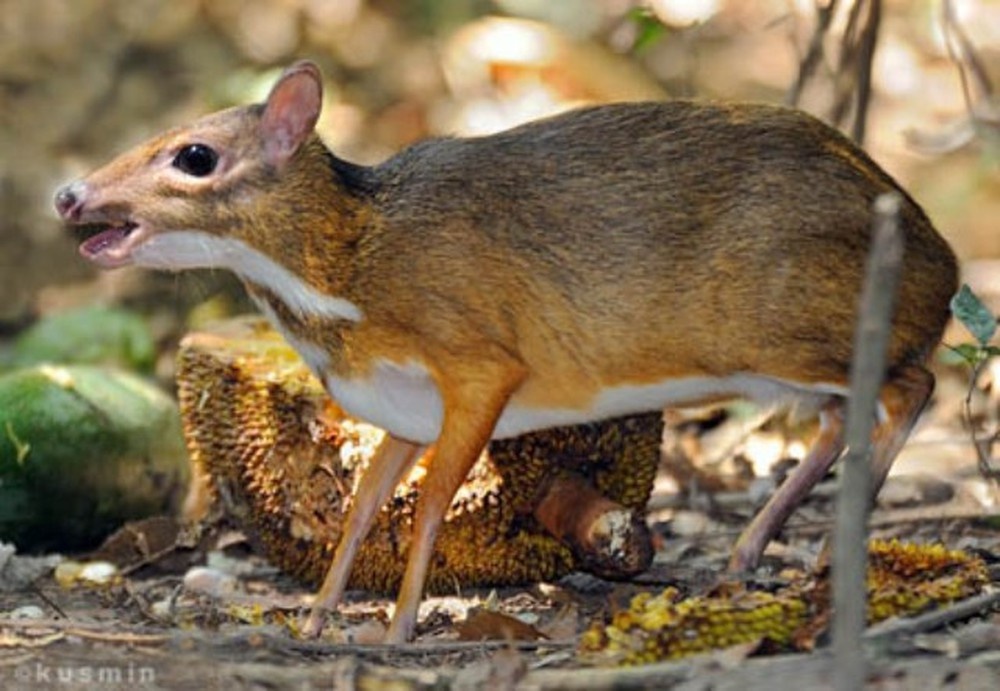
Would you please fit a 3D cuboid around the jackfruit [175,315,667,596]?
[{"bbox_3d":[-0.083,0.364,5.045,1.946,0.907,1.397,-4,11,19],"label":"jackfruit"}]

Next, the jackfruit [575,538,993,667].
[{"bbox_3d":[0.926,0.829,3.602,1.362,0.199,0.429,-7,25,-21],"label":"jackfruit"}]
